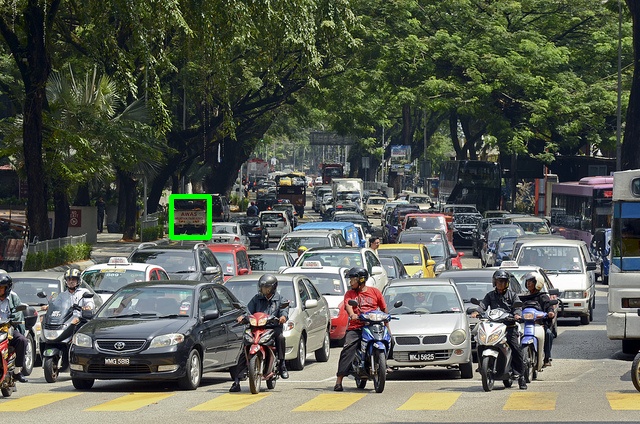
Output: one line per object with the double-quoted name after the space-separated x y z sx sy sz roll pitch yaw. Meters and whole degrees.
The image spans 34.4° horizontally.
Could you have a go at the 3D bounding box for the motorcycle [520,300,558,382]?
4.977 3.013 24.406 1.098 1.695 2.602 -2 -7 22 "motorcycle"

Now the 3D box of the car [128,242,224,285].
-4.073 1.462 30.672 1.421 1.108 2.269 -1 -7 9 "car"

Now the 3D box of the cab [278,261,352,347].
0.095 2.197 29.057 1.432 1.681 3.033 -7 20 9 "cab"

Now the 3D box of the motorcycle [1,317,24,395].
-6.785 3.167 22.513 0.277 1.697 0.584 2 6 18 "motorcycle"

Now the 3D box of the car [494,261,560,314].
5.096 1.896 25.577 1.356 1.112 2.149 0 -5 11 "car"

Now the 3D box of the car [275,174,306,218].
-2.441 -1.841 85.506 2.411 3.201 6.980 0 0 0 "car"

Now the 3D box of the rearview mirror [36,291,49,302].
-6.741 2.028 25.161 0.215 0.130 0.307 4 -23 41 "rearview mirror"

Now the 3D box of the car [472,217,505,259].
7.971 1.022 49.626 1.266 1.139 2.137 1 -1 -1 "car"

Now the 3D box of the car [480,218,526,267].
7.768 1.309 43.387 1.860 1.939 3.631 -2 2 12 "car"

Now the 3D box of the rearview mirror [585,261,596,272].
8.064 1.611 30.818 0.210 0.213 0.308 1 1 12 "rearview mirror"

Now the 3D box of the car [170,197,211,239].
-6.920 0.131 58.202 2.067 2.235 3.626 -1 8 7 "car"

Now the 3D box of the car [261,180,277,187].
-6.224 -3.620 127.666 1.458 1.145 2.410 1 -3 -6 "car"

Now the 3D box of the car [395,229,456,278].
3.985 1.639 38.901 2.376 2.024 4.035 -1 10 11 "car"

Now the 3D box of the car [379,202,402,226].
4.050 0.117 59.072 1.484 1.429 3.104 1 -3 -4 "car"

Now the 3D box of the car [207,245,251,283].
-2.882 1.521 32.772 0.904 0.864 1.579 -1 -3 1 "car"

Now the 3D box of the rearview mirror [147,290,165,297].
-3.758 1.878 23.742 0.489 0.129 0.096 -1 -39 18 "rearview mirror"

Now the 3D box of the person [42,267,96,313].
-5.927 1.824 24.842 0.832 0.613 1.259 1 7 4 "person"

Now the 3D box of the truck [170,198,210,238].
-7.203 0.510 58.316 2.132 2.100 3.527 0 -5 -7 "truck"

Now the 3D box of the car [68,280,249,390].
-3.704 2.795 23.447 3.825 2.259 1.931 -1 6 -14 "car"

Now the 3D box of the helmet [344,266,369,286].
0.798 1.430 23.053 0.503 0.415 0.442 2 1 2 "helmet"

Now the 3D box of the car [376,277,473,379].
2.602 2.857 25.925 2.256 2.311 4.791 -2 -5 6 "car"

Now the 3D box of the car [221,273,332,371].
-0.821 2.611 25.606 1.893 1.424 2.886 -1 -2 12 "car"

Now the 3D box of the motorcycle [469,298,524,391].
3.840 3.039 22.936 1.059 1.700 0.511 -4 8 -39 "motorcycle"

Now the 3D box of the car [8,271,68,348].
-7.282 2.182 26.630 1.421 1.369 2.648 4 19 -10 "car"

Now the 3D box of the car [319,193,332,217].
0.454 -0.680 81.393 0.968 0.884 1.707 1 7 -2 "car"

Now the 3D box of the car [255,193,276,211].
-3.992 -0.713 74.103 0.900 0.732 1.512 2 13 5 "car"

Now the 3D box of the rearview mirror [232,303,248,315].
-1.874 2.241 24.146 0.103 0.286 0.202 -12 8 -27 "rearview mirror"

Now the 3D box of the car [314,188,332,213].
0.154 -1.174 89.121 1.283 1.136 2.129 1 7 2 "car"

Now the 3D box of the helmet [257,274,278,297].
-1.229 1.632 23.195 0.372 0.461 0.475 4 10 19 "helmet"

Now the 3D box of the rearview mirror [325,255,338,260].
0.342 1.393 31.329 0.308 0.064 0.117 -2 -42 8 "rearview mirror"

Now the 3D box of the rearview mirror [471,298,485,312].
3.583 2.053 23.502 0.392 0.105 0.106 35 -11 -40 "rearview mirror"

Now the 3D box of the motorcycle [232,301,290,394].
-1.277 3.037 22.836 0.952 1.902 0.497 -5 8 -42 "motorcycle"

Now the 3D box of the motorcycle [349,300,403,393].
1.115 3.047 22.595 0.790 1.755 0.426 1 6 4 "motorcycle"

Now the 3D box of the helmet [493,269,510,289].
4.156 1.540 23.843 0.303 0.337 0.406 0 -1 12 "helmet"

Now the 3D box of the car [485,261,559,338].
5.615 2.465 29.282 2.321 1.860 3.795 0 -7 19 "car"

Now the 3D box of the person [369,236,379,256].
1.901 1.133 36.132 0.434 0.779 0.479 -3 -2 27 "person"

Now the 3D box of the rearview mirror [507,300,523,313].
4.469 2.146 23.658 0.259 0.281 0.275 -9 -4 30 "rearview mirror"

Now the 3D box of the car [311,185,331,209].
-0.208 -1.724 99.761 1.704 1.467 2.737 0 -5 -8 "car"

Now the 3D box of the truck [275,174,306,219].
-2.385 -1.043 85.463 2.460 3.405 6.925 0 4 -1 "truck"

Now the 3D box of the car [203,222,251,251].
-4.131 0.996 45.658 1.073 0.833 2.389 0 5 3 "car"

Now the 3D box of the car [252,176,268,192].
-8.091 -3.998 136.126 1.553 1.573 2.847 1 10 1 "car"

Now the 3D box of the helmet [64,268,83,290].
-5.989 1.619 24.757 0.436 0.524 0.557 -1 -1 0 "helmet"

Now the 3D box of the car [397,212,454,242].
4.683 0.444 46.838 1.563 1.394 2.682 0 -6 2 "car"

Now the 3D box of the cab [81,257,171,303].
-5.385 1.760 27.303 1.111 0.875 1.781 0 -6 3 "cab"

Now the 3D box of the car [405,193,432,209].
6.710 -0.719 69.140 0.972 0.862 2.152 0 -6 -4 "car"
